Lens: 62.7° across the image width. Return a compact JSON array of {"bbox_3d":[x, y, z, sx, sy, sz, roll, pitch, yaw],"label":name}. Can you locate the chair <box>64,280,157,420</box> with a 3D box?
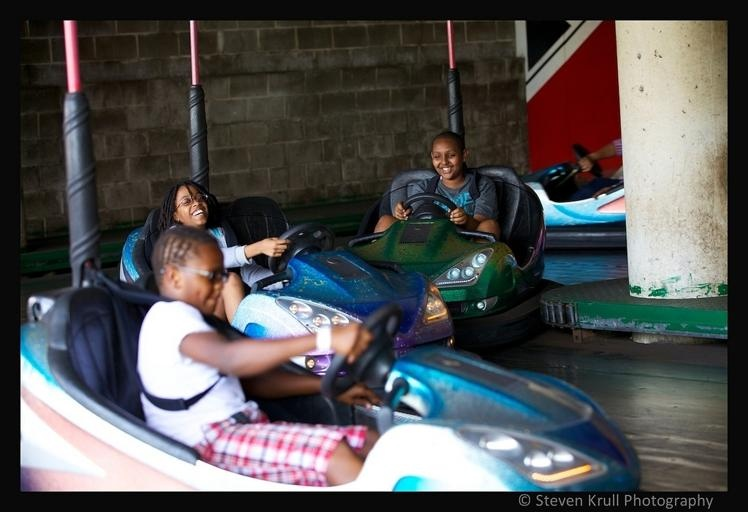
[{"bbox_3d":[-0.632,0.232,1.428,0.224,0.279,0.104,-8,-24,-41],"label":"chair"}]

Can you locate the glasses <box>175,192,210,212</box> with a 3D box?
[{"bbox_3d":[-0.736,-0.223,2.497,0.080,0.025,0.080,-20,-14,39],"label":"glasses"}]

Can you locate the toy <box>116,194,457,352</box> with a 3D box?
[{"bbox_3d":[-0.327,0.052,2.307,1.176,0.498,0.674,6,11,30],"label":"toy"}]

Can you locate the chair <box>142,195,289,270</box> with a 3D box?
[{"bbox_3d":[-0.670,-0.134,2.631,0.547,0.216,0.378,4,-9,-1],"label":"chair"}]

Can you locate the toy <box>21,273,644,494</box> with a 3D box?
[{"bbox_3d":[-0.116,0.270,1.334,1.089,0.372,0.541,0,4,10],"label":"toy"}]

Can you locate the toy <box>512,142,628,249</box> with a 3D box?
[{"bbox_3d":[1.381,-0.453,4.672,0.898,0.520,0.878,0,4,8],"label":"toy"}]
